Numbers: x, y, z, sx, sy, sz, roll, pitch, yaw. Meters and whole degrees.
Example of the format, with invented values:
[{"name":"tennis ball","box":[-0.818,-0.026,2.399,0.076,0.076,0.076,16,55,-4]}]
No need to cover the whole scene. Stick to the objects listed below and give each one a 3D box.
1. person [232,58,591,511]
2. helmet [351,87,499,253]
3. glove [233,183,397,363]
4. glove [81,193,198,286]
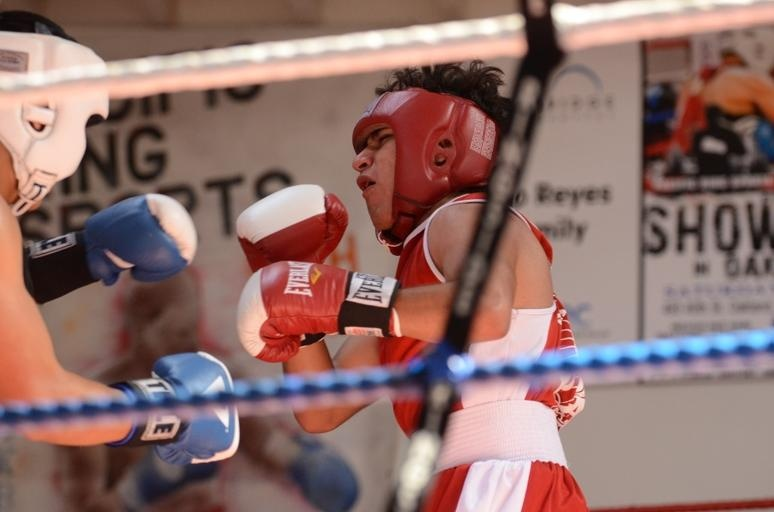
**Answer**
[{"name":"person","box":[0.166,0.054,3.027,1.186,1.523,0.616,5,6,14]},{"name":"helmet","box":[0.144,-0.304,3.343,0.528,0.584,0.479,0,-15,3]},{"name":"glove","box":[-0.279,-0.002,3.061,0.651,0.626,0.258,-14,-1,17]},{"name":"glove","box":[-0.901,-0.068,3.252,0.405,0.292,0.399,-19,1,-43]}]
